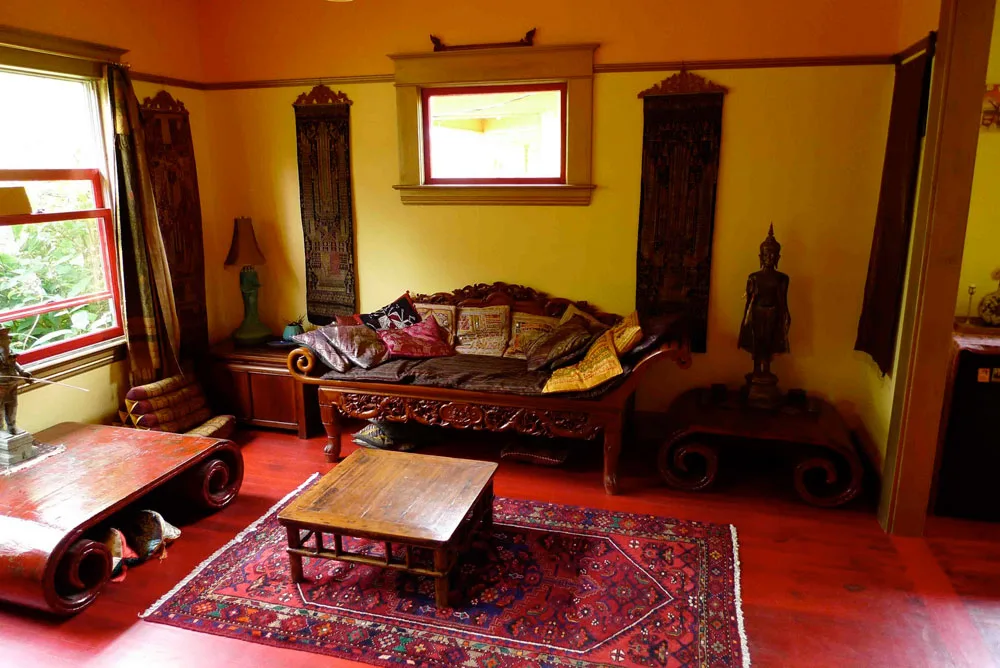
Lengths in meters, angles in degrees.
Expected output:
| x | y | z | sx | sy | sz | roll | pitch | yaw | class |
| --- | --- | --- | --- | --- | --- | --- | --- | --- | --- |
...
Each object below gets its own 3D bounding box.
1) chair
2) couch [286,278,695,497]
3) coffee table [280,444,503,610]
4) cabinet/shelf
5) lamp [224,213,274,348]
| x | y | z | sx | sy | sz | roll | pitch | yaw | class |
| --- | --- | --- | --- | --- | --- | --- | --- | --- | --- |
| -2.858 | 0.727 | 6.238 | 0.688 | 0.588 | 0.902 | 12 | 10 | 9 | chair |
| -0.022 | 0.373 | 6.158 | 3.492 | 1.475 | 1.087 | 3 | 15 | 20 | couch |
| -0.671 | 1.113 | 4.770 | 1.080 | 0.428 | 1.051 | 5 | 18 | 18 | coffee table |
| -2.574 | 0.653 | 6.618 | 0.635 | 0.787 | 1.146 | -27 | -25 | 37 | cabinet/shelf |
| -2.510 | -0.540 | 6.823 | 0.372 | 1.196 | 0.585 | -6 | 19 | -19 | lamp |
